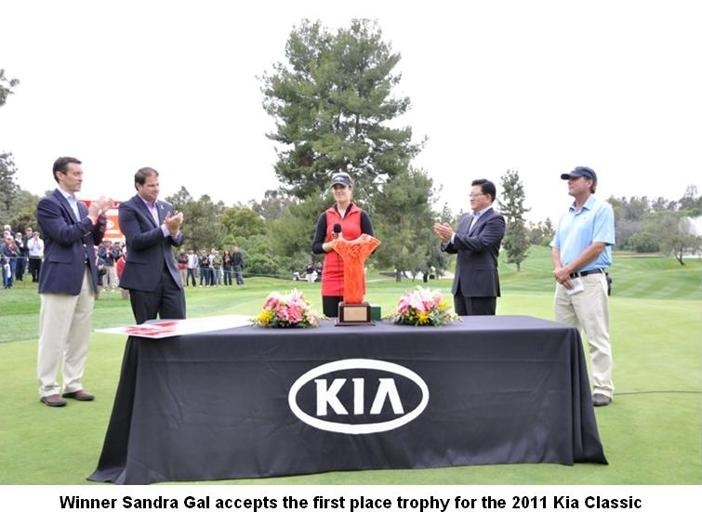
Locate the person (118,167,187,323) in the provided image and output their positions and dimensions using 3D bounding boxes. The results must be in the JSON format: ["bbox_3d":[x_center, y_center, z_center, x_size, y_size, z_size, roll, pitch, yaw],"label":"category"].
[{"bbox_3d":[-2.235,-0.075,7.044,0.694,1.812,0.715,-4,10,-18],"label":"person"}]

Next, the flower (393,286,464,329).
[{"bbox_3d":[0.686,0.496,6.110,0.589,0.453,0.629,-2,-14,34],"label":"flower"}]

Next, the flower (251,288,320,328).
[{"bbox_3d":[-0.606,0.525,5.977,0.561,0.375,0.499,1,-9,-41],"label":"flower"}]

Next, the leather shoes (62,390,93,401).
[{"bbox_3d":[-3.164,1.615,7.311,0.343,0.128,0.146,0,2,9],"label":"leather shoes"}]

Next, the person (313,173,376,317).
[{"bbox_3d":[-0.094,-0.133,7.132,0.642,1.601,1.632,-1,11,-3],"label":"person"}]

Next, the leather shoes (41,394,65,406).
[{"bbox_3d":[-3.310,1.616,7.011,0.293,0.103,0.121,-2,0,39],"label":"leather shoes"}]

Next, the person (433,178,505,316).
[{"bbox_3d":[1.435,-0.097,7.280,1.001,1.633,0.710,-10,14,-43],"label":"person"}]

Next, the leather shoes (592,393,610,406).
[{"bbox_3d":[2.823,1.631,7.045,0.202,0.159,0.399,-6,-15,13],"label":"leather shoes"}]

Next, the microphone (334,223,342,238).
[{"bbox_3d":[-0.132,-0.250,6.231,0.089,0.133,0.126,0,2,1],"label":"microphone"}]
